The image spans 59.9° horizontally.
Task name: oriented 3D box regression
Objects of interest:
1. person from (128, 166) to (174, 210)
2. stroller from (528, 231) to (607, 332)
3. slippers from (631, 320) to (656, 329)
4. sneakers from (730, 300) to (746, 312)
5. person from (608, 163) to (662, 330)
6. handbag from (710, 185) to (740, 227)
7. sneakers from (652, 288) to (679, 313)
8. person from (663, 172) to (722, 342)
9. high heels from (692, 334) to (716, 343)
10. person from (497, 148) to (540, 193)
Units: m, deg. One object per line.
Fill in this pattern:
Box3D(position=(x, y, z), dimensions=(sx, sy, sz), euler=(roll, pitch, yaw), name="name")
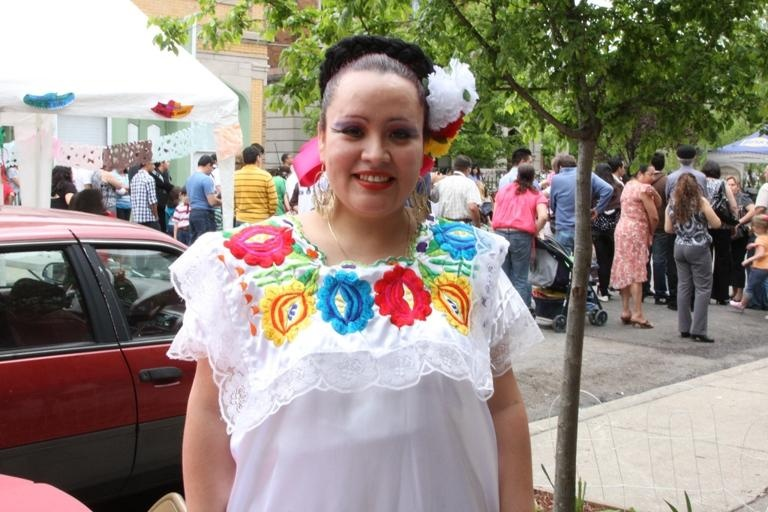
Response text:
Box3D(position=(-4.187, -1.190, 11.913), dimensions=(0.772, 0.970, 0.576), euler=(1, 14, 12), name="person")
Box3D(position=(2.393, 0.284, 8.975), dimensions=(1.197, 1.315, 0.963), euler=(-2, 7, -13), name="stroller")
Box3D(position=(3.458, 0.915, 8.901), dimensions=(0.264, 0.107, 0.116), euler=(-3, -1, 20), name="slippers")
Box3D(position=(5.538, 0.774, 10.428), dimensions=(0.099, 0.105, 0.268), euler=(-4, 24, -17), name="sneakers")
Box3D(position=(3.451, -0.164, 9.132), dimensions=(0.567, 2.148, 0.872), euler=(4, 9, 19), name="person")
Box3D(position=(5.089, -0.732, 9.990), dimensions=(0.519, 0.691, 0.287), euler=(13, -21, -43), name="handbag")
Box3D(position=(4.514, 0.682, 10.581), dimensions=(0.439, 0.191, 0.155), euler=(3, 4, 12), name="sneakers")
Box3D(position=(3.817, 0.012, 8.229), dimensions=(0.644, 2.043, 0.475), euler=(8, 11, 42), name="person")
Box3D(position=(3.925, 1.006, 8.245), dimensions=(0.311, 0.134, 0.106), euler=(-2, 3, 16), name="high heels")
Box3D(position=(2.067, -1.315, 10.251), dimensions=(0.421, 0.714, 0.834), euler=(0, 13, -2), name="person")
